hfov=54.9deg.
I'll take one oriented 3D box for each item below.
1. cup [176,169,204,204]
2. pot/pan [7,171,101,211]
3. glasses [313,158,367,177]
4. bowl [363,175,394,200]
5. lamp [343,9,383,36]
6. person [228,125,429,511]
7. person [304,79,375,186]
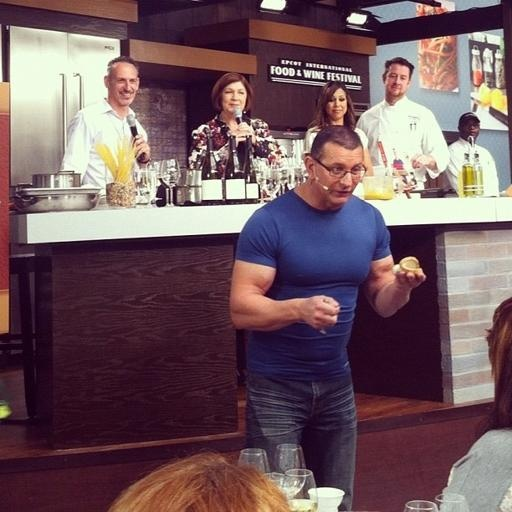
[{"bbox_3d":[-0.277,-0.285,2.059,0.176,0.150,0.078,5,7,42],"label":"cup"},{"bbox_3d":[-0.767,-0.244,1.906,0.220,0.085,0.258,0,-2,-15],"label":"pot/pan"},{"bbox_3d":[0.240,-0.256,1.434,0.139,0.062,0.072,0,5,-2],"label":"glasses"},{"bbox_3d":[0.570,-0.314,2.286,0.134,0.079,0.120,0,-1,3],"label":"bowl"},{"bbox_3d":[1.267,-2.782,5.840,0.413,0.105,0.262,2,-3,-24],"label":"lamp"},{"bbox_3d":[0.201,0.198,1.469,0.555,1.170,0.444,-1,6,-7],"label":"person"},{"bbox_3d":[0.559,-0.692,3.336,0.513,0.870,0.314,-1,2,-3],"label":"person"}]
